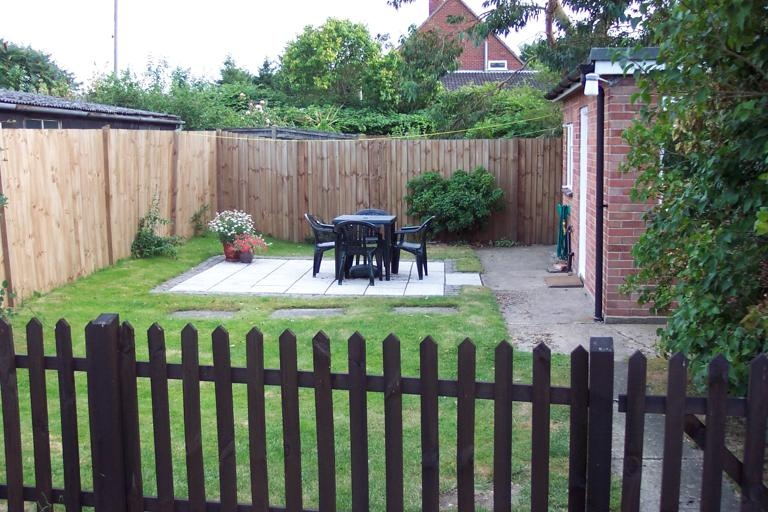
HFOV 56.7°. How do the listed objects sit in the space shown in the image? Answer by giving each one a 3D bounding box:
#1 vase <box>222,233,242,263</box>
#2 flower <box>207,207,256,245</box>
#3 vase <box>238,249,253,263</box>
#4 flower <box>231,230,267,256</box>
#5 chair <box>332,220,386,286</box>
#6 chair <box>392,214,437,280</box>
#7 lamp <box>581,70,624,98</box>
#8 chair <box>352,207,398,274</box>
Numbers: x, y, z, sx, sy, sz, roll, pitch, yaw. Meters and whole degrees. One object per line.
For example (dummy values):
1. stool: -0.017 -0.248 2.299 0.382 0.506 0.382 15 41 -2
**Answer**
1. vase: -2.678 -0.132 12.370 0.362 0.418 0.380 0 0 -3
2. flower: -2.681 -0.528 12.632 0.662 0.496 0.678 0 12 -1
3. vase: -2.414 0.002 12.312 0.203 0.170 0.212 0 -2 -5
4. flower: -2.386 -0.221 12.466 0.422 0.271 0.436 1 5 -3
5. chair: -0.401 -0.153 10.863 0.732 1.219 0.903 1 21 9
6. chair: 0.413 -0.145 11.368 0.762 0.984 0.766 7 12 37
7. lamp: 2.449 -1.991 8.255 0.425 0.269 0.188 -4 6 -32
8. chair: -0.122 -0.381 12.094 0.809 1.066 0.672 -20 8 -34
